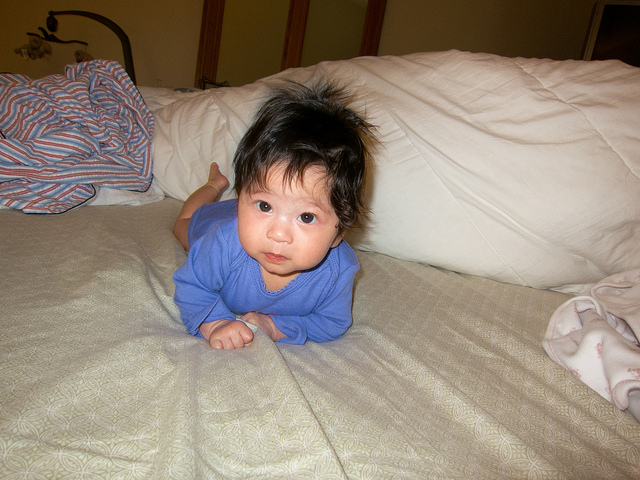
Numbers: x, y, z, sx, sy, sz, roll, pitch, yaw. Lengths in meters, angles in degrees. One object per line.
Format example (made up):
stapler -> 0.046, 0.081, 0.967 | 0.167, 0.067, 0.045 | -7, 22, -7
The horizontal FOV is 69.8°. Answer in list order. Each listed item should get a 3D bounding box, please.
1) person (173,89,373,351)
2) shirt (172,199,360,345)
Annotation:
person -> -0.227, -0.129, 1.214 | 0.381, 0.535, 0.851 | -7, 31, -22
shirt -> -0.122, 0.058, 1.227 | 0.392, 0.252, 0.639 | 7, 14, 1
